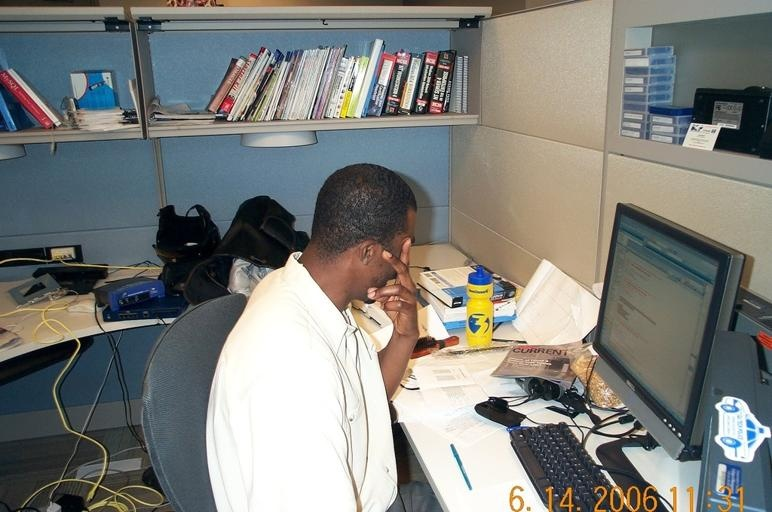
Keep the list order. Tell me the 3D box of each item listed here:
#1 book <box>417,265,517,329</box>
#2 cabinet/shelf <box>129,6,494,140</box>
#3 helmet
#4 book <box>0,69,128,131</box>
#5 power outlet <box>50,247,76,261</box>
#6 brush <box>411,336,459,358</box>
[{"bbox_3d":[0.269,0.148,2.246,0.300,0.067,0.282,-4,27,-9],"label":"book"},{"bbox_3d":[-0.349,-0.928,2.583,1.647,0.585,0.353,-4,22,-7],"label":"cabinet/shelf"},{"bbox_3d":[-0.745,-0.038,2.533,0.645,0.277,0.504,-8,3,-16],"label":"helmet"},{"bbox_3d":[-1.514,-0.745,2.465,0.516,0.277,0.420,-8,22,-16],"label":"book"},{"bbox_3d":[-1.713,-0.009,2.766,0.126,0.066,0.083,1,4,-10],"label":"power outlet"},{"bbox_3d":[0.183,0.352,2.018,0.231,0.046,0.068,-14,25,-30],"label":"brush"}]
